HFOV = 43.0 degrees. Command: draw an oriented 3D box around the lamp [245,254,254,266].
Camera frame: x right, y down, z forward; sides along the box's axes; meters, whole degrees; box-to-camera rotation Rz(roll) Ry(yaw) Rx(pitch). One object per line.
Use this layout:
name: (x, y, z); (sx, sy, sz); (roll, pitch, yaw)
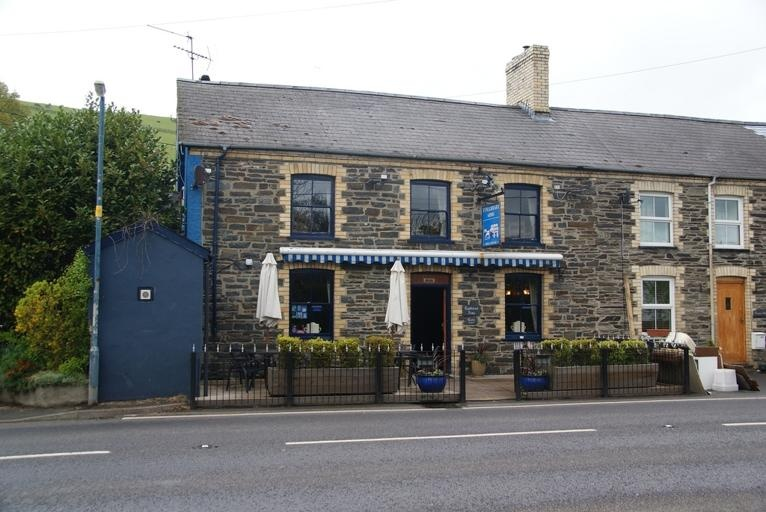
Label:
lamp: (-4.530, 0.155, 32.733); (0.303, 0.385, 0.164); (1, -6, -11)

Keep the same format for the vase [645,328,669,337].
vase: (10.066, 2.791, 35.635); (0.853, 0.268, 0.620); (0, -7, 0)

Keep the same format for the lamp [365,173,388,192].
lamp: (-0.235, -2.538, 33.991); (0.643, 0.431, 0.643); (0, 1, -1)

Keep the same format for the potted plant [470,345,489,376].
potted plant: (3.387, 3.645, 34.314); (0.627, 1.094, 0.377); (0, -6, 0)

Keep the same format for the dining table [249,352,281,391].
dining table: (-3.887, 3.526, 30.749); (1.244, 1.659, 1.273); (2, -11, -8)

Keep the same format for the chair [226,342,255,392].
chair: (-4.628, 3.620, 31.233); (1.209, 1.673, 1.217); (6, -12, -35)

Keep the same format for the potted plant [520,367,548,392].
potted plant: (4.739, 3.883, 30.549); (0.665, 0.480, 0.792); (2, -13, -11)
